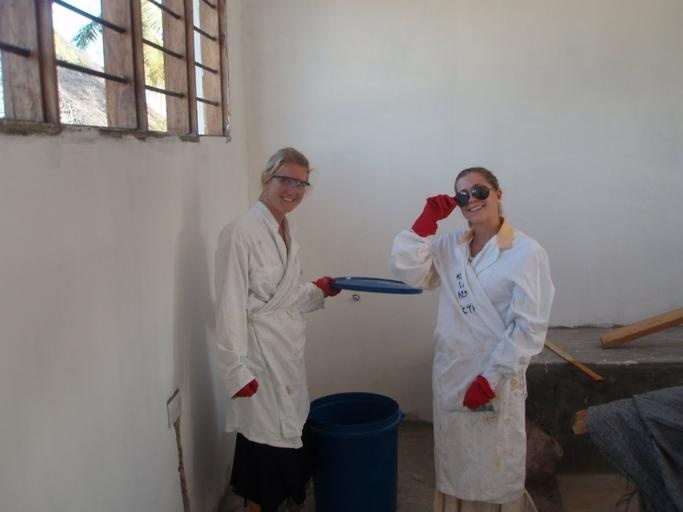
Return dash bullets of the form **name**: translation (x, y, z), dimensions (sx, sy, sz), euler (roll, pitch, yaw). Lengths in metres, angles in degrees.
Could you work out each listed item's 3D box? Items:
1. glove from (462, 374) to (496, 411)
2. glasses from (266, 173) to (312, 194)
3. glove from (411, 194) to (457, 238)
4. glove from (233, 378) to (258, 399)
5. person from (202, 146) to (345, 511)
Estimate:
- **glove**: translation (0.603, 0.603, 2.327), dimensions (0.122, 0.183, 0.119), euler (6, 14, 20)
- **glasses**: translation (-0.238, -0.352, 2.493), dimensions (0.193, 0.073, 0.102), euler (-3, 14, -15)
- **glove**: translation (0.434, -0.196, 2.559), dimensions (0.152, 0.083, 0.236), euler (-8, -17, -8)
- **glove**: translation (-0.416, 0.564, 2.289), dimensions (0.097, 0.036, 0.073), euler (-39, -6, 28)
- **person**: translation (-0.348, 0.471, 2.551), dimensions (0.426, 1.931, 0.628), euler (0, 14, -3)
